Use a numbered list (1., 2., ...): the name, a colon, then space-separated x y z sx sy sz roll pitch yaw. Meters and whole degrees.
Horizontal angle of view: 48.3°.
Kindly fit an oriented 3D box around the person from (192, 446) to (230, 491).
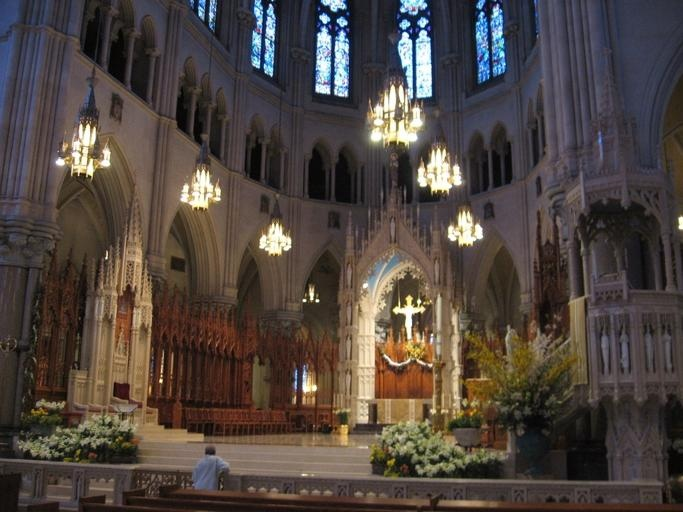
1. person: -2.364 3.809 13.722 0.645 0.810 0.639 3 -18 -12
